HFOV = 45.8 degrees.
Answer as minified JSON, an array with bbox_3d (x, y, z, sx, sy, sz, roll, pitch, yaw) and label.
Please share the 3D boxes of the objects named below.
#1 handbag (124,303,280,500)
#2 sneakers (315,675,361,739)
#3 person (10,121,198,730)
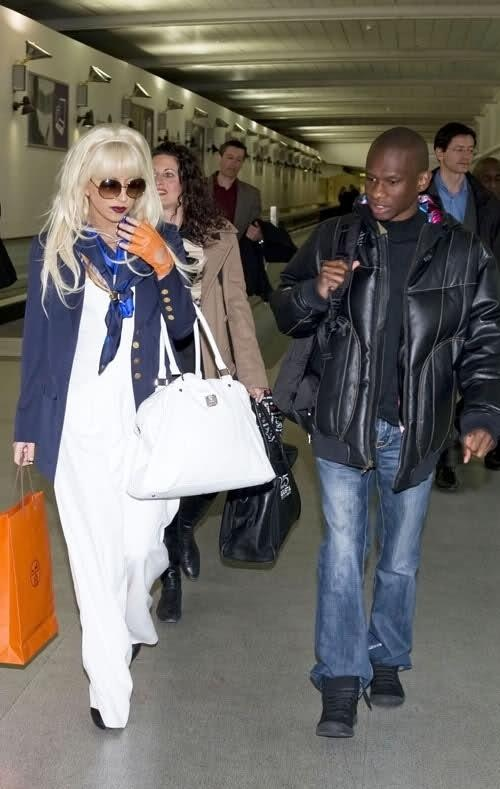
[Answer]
[{"bbox_3d":[-0.110,0.052,1.362,0.334,0.349,0.106,2,-3,-31],"label":"handbag"},{"bbox_3d":[0.219,0.751,1.435,0.061,0.076,0.187,0,-5,10],"label":"sneakers"},{"bbox_3d":[-0.381,0.056,1.457,0.400,1.305,0.403,6,4,27],"label":"person"}]
